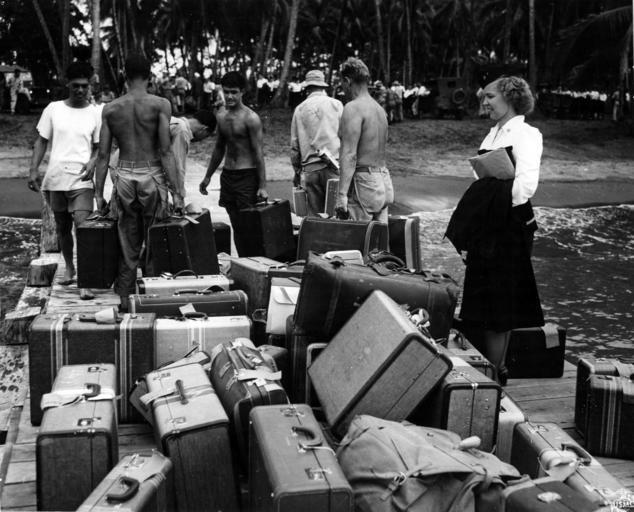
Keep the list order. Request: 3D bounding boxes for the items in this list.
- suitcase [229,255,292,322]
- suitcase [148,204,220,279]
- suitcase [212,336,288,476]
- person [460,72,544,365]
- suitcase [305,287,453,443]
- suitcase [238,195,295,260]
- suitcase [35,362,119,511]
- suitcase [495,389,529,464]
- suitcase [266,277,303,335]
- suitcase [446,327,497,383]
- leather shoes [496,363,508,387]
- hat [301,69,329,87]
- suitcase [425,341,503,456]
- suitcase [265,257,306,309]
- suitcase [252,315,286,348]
[{"bbox_3d":[-0.339,0.096,4.773,0.306,0.397,0.549,-2,11,-21],"label":"suitcase"},{"bbox_3d":[-0.930,-0.093,5.309,0.171,0.436,0.471,0,10,28],"label":"suitcase"},{"bbox_3d":[-0.294,0.650,3.298,0.207,0.320,0.479,-6,18,-14],"label":"suitcase"},{"bbox_3d":[1.039,-0.171,4.291,0.336,1.599,0.570,4,15,13],"label":"person"},{"bbox_3d":[0.244,0.490,3.371,0.265,0.460,0.454,40,11,-21],"label":"suitcase"},{"bbox_3d":[-0.386,-0.202,5.861,0.266,0.480,0.492,2,11,33],"label":"suitcase"},{"bbox_3d":[-0.956,0.738,3.113,0.232,0.306,0.488,0,17,-5],"label":"suitcase"},{"bbox_3d":[0.871,0.773,3.480,0.110,0.270,0.306,2,13,-3],"label":"suitcase"},{"bbox_3d":[-0.186,0.210,4.216,0.230,0.297,0.407,3,4,-4],"label":"suitcase"},{"bbox_3d":[0.768,0.493,3.909,0.165,0.198,0.453,5,17,-14],"label":"suitcase"},{"bbox_3d":[1.041,0.658,4.361,0.084,0.138,0.039,0,6,-11],"label":"leather shoes"},{"bbox_3d":[-0.016,-1.477,6.456,0.216,0.113,0.198,2,8,-4],"label":"hat"},{"bbox_3d":[0.630,0.635,3.375,0.266,0.338,0.456,3,17,-17],"label":"suitcase"},{"bbox_3d":[-0.184,0.166,4.596,0.337,0.230,0.178,-1,10,-6],"label":"suitcase"},{"bbox_3d":[-0.258,0.387,4.285,0.152,0.281,0.182,2,11,12],"label":"suitcase"}]
